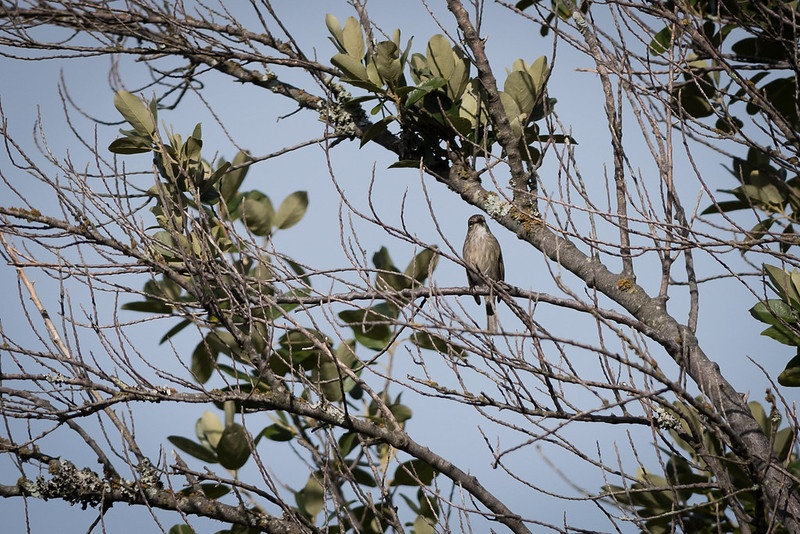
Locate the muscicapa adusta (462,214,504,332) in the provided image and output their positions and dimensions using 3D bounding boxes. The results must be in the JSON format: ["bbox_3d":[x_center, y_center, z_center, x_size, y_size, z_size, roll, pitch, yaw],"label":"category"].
[{"bbox_3d":[0.722,0.020,9.318,0.270,0.448,1.165,-3,-87,8],"label":"muscicapa adusta"}]
